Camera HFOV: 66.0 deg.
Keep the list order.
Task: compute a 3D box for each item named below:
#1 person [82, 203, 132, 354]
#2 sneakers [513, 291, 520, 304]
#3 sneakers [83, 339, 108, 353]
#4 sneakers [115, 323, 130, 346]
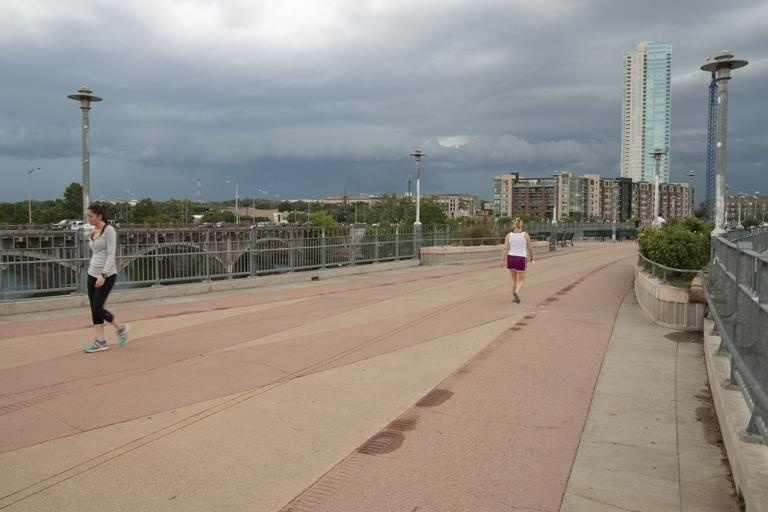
[{"bbox_3d":[-4.813,0.344,10.038,0.662,2.451,0.997,-5,11,-27],"label":"person"},{"bbox_3d":[3.093,0.975,13.921,0.131,0.314,0.139,-7,2,27],"label":"sneakers"},{"bbox_3d":[-4.856,1.501,9.853,0.437,0.203,0.176,0,-2,-15],"label":"sneakers"},{"bbox_3d":[-4.472,1.305,10.036,0.166,0.492,0.220,-2,13,3],"label":"sneakers"}]
